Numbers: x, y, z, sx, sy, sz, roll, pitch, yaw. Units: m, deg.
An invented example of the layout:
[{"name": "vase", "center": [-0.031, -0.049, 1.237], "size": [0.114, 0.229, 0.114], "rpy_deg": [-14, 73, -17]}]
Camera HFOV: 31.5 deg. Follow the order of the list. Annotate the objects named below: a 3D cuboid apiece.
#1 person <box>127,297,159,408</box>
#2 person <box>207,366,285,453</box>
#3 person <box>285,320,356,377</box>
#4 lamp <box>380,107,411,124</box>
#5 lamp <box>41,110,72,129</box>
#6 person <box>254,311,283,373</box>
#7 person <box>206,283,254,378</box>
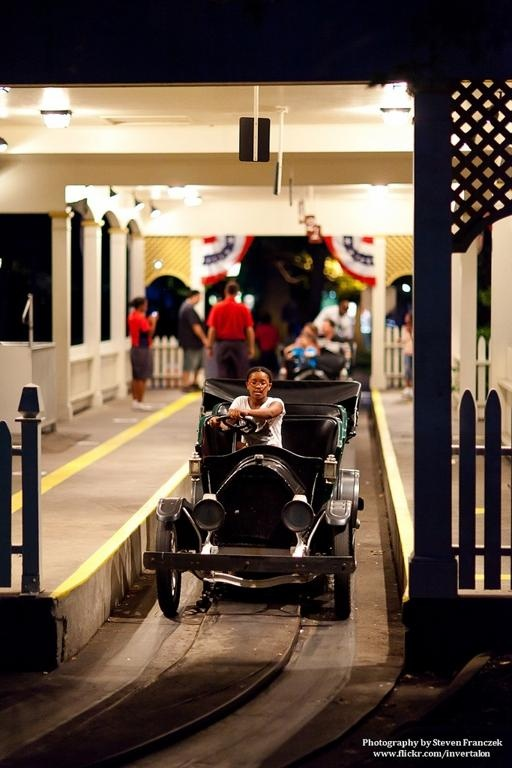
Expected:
[{"name": "person", "center": [-1.731, -0.449, 13.886], "size": [0.416, 1.750, 0.804], "rpy_deg": [0, 5, -8]}, {"name": "person", "center": [-0.056, 0.177, 5.874], "size": [0.469, 0.533, 0.712], "rpy_deg": [1, 5, 1]}, {"name": "person", "center": [1.014, -0.478, 15.527], "size": [0.734, 1.126, 1.300], "rpy_deg": [-1, -8, 8]}, {"name": "lamp", "center": [1.314, -2.549, 8.572], "size": [0.256, 0.149, 0.377], "rpy_deg": [1, 5, 3]}, {"name": "lamp", "center": [-1.996, -2.651, 9.124], "size": [0.279, 0.138, 0.445], "rpy_deg": [0, 5, -9]}, {"name": "person", "center": [0.244, -0.924, 20.596], "size": [0.532, 1.324, 1.304], "rpy_deg": [0, 5, 0]}, {"name": "person", "center": [-0.381, -0.822, 13.849], "size": [0.676, 1.461, 0.520], "rpy_deg": [0, 5, -4]}]
